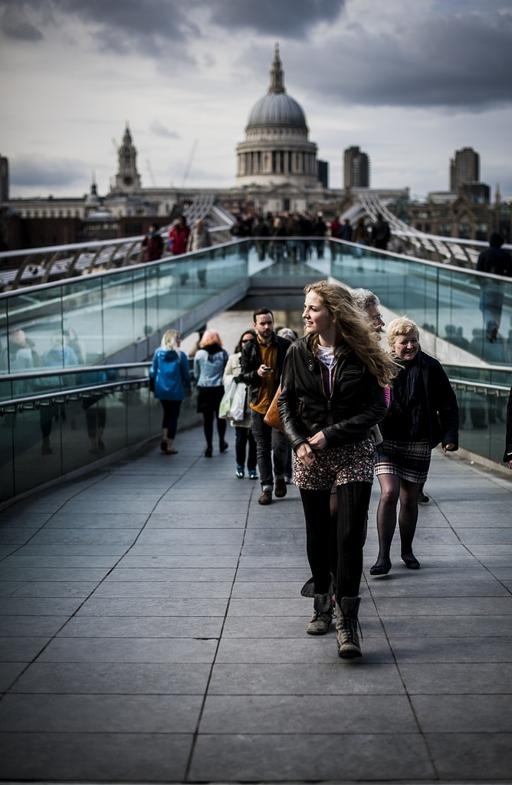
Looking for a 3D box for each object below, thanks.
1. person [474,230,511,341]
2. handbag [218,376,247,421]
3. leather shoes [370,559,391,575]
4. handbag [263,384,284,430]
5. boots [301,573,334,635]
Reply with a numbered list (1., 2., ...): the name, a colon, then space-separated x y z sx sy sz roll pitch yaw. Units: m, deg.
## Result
1. person: 3.451 -1.580 11.186 0.501 1.429 2.348 -1 0 15
2. handbag: -0.219 0.057 7.391 0.189 0.460 0.452 3 7 -14
3. leather shoes: 0.632 0.878 3.929 0.053 0.092 0.135 -6 -15 27
4. handbag: 0.071 0.108 3.707 0.054 0.187 0.189 10 -32 11
5. boots: 0.251 0.846 3.055 0.083 0.148 0.227 -5 0 22
